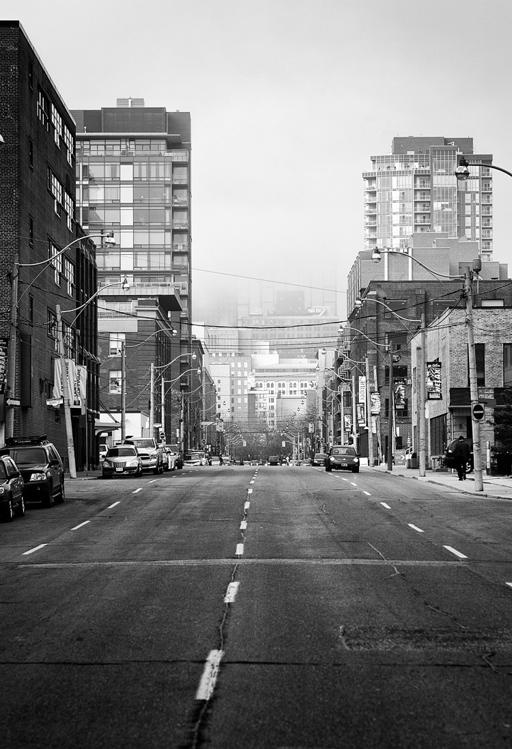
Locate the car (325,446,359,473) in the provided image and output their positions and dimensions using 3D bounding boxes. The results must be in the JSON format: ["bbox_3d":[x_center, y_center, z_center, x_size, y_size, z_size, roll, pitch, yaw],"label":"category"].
[{"bbox_3d":[5.828,5.755,58.796,2.044,1.742,3.209,-1,-5,1],"label":"car"}]

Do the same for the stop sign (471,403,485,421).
[{"bbox_3d":[8.717,1.498,34.034,0.386,0.689,1.511,-1,-5,17],"label":"stop sign"}]
